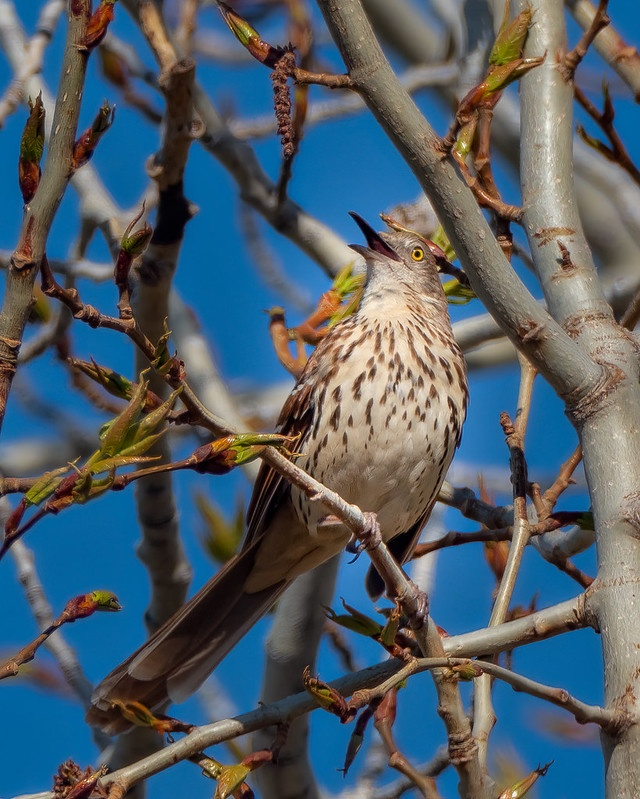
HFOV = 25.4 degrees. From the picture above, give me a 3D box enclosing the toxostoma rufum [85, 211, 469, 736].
[{"bbox_3d":[-0.081,0.212,4.108,0.554,0.775,1.711,35,-73,-30],"label":"toxostoma rufum"}]
